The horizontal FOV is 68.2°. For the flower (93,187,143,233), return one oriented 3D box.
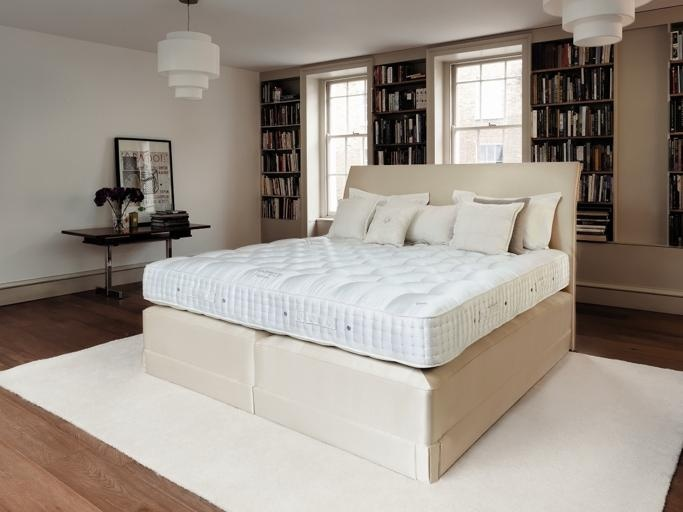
[{"bbox_3d":[-2.595,-0.523,5.990,0.513,0.589,0.547,-3,5,-22],"label":"flower"}]

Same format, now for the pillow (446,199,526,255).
[{"bbox_3d":[1.166,-0.236,4.108,0.487,0.476,0.156,5,-16,47],"label":"pillow"}]

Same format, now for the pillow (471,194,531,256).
[{"bbox_3d":[1.400,-0.264,4.188,0.462,0.484,0.136,0,-8,45],"label":"pillow"}]

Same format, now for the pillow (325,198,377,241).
[{"bbox_3d":[0.095,-0.349,4.886,0.430,0.423,0.132,12,-16,45],"label":"pillow"}]

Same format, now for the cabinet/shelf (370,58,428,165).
[{"bbox_3d":[0.748,-1.793,6.396,0.779,1.257,0.232,7,14,28],"label":"cabinet/shelf"}]
